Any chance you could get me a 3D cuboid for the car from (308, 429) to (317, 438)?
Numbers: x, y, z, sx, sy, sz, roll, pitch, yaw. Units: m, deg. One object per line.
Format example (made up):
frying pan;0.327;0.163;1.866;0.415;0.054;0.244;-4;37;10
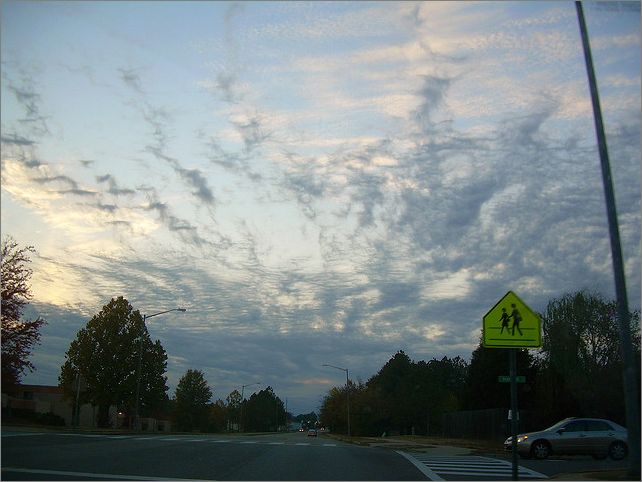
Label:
car;-1.397;30.837;97.479;1.582;0.856;2.865;0;-23;-2
